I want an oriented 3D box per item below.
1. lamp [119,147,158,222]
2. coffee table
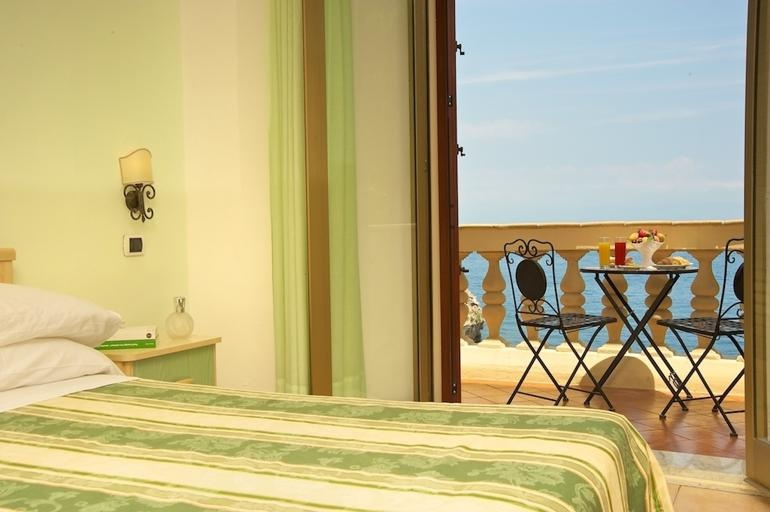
[{"bbox_3d":[-1.435,-0.411,4.084,0.166,0.436,0.273,1,5,26],"label":"lamp"},{"bbox_3d":[1.859,0.555,5.015,0.990,1.106,0.997,-2,0,28],"label":"coffee table"}]
